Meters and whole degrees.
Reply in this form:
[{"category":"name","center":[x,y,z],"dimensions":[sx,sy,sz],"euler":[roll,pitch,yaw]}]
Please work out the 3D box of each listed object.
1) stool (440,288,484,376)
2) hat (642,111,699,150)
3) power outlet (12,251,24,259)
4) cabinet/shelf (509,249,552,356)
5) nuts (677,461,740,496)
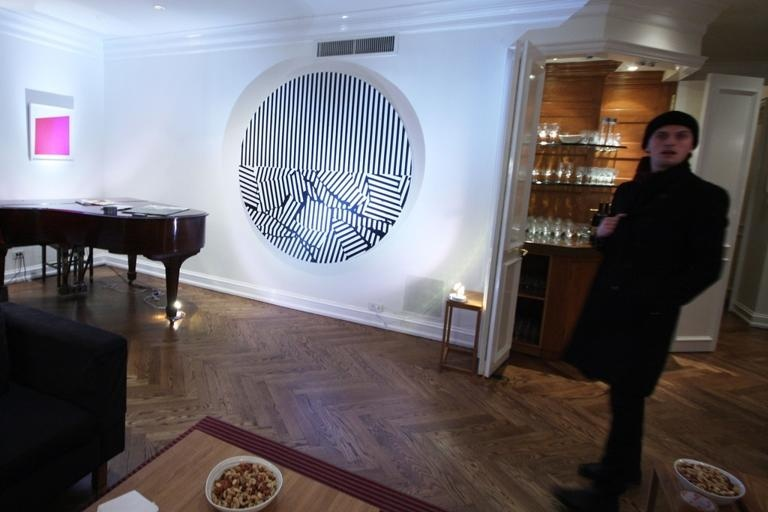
[{"category":"stool","center":[0.684,0.654,4.525],"dimensions":[0.424,0.839,0.663],"euler":[5,4,11]},{"category":"hat","center":[1.584,-0.697,2.793],"dimensions":[0.253,0.211,0.181],"euler":[8,12,25]},{"category":"power outlet","center":[-4.136,-0.020,5.745],"dimensions":[0.107,0.056,0.100],"euler":[-7,-1,-41]},{"category":"cabinet/shelf","center":[1.412,0.388,4.843],"dimensions":[0.263,1.020,0.399],"euler":[6,12,15]},{"category":"nuts","center":[1.679,1.152,2.619],"dimensions":[0.170,0.062,0.170],"euler":[1,9,-18]}]
